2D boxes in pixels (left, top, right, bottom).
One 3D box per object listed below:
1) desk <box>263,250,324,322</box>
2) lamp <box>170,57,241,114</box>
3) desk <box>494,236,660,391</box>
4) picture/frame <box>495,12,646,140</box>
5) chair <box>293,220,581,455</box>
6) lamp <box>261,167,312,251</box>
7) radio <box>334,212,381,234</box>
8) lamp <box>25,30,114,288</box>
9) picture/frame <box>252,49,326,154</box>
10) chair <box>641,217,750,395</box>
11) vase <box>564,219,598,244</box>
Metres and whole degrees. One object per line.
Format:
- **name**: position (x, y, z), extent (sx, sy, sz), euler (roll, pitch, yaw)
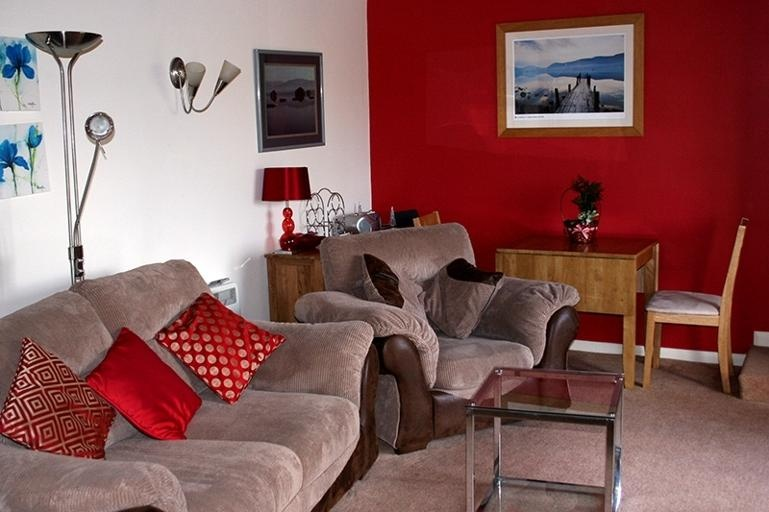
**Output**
- **desk**: position (-0.716, 0.232, 4.642), extent (0.459, 0.649, 0.368), euler (1, 22, -4)
- **lamp**: position (-1.195, -1.149, 3.959), extent (0.209, 0.368, 0.502), euler (7, 10, 32)
- **desk**: position (1.595, 0.321, 4.712), extent (1.017, 1.033, 0.739), euler (4, 23, 36)
- **picture/frame**: position (1.587, -1.511, 4.783), extent (1.065, 0.935, 0.043), euler (0, 4, 19)
- **chair**: position (0.329, 0.465, 3.820), extent (2.069, 1.590, 1.235), euler (-5, 4, -40)
- **lamp**: position (-0.802, -0.373, 4.526), extent (0.346, 0.637, 0.397), euler (-4, 10, -33)
- **radio**: position (-0.220, -0.304, 5.074), extent (0.321, 0.250, 0.203), euler (-1, 13, -38)
- **lamp**: position (-1.696, -0.516, 3.124), extent (0.352, 1.342, 0.651), euler (-3, 10, -28)
- **picture/frame**: position (-0.751, -1.268, 4.709), extent (0.726, 0.787, 0.051), euler (10, 18, 30)
- **chair**: position (2.340, 0.330, 4.332), extent (0.710, 1.253, 0.730), euler (5, 9, 20)
- **vase**: position (1.519, -0.167, 4.490), extent (0.195, 0.144, 0.204), euler (0, 1, 24)
